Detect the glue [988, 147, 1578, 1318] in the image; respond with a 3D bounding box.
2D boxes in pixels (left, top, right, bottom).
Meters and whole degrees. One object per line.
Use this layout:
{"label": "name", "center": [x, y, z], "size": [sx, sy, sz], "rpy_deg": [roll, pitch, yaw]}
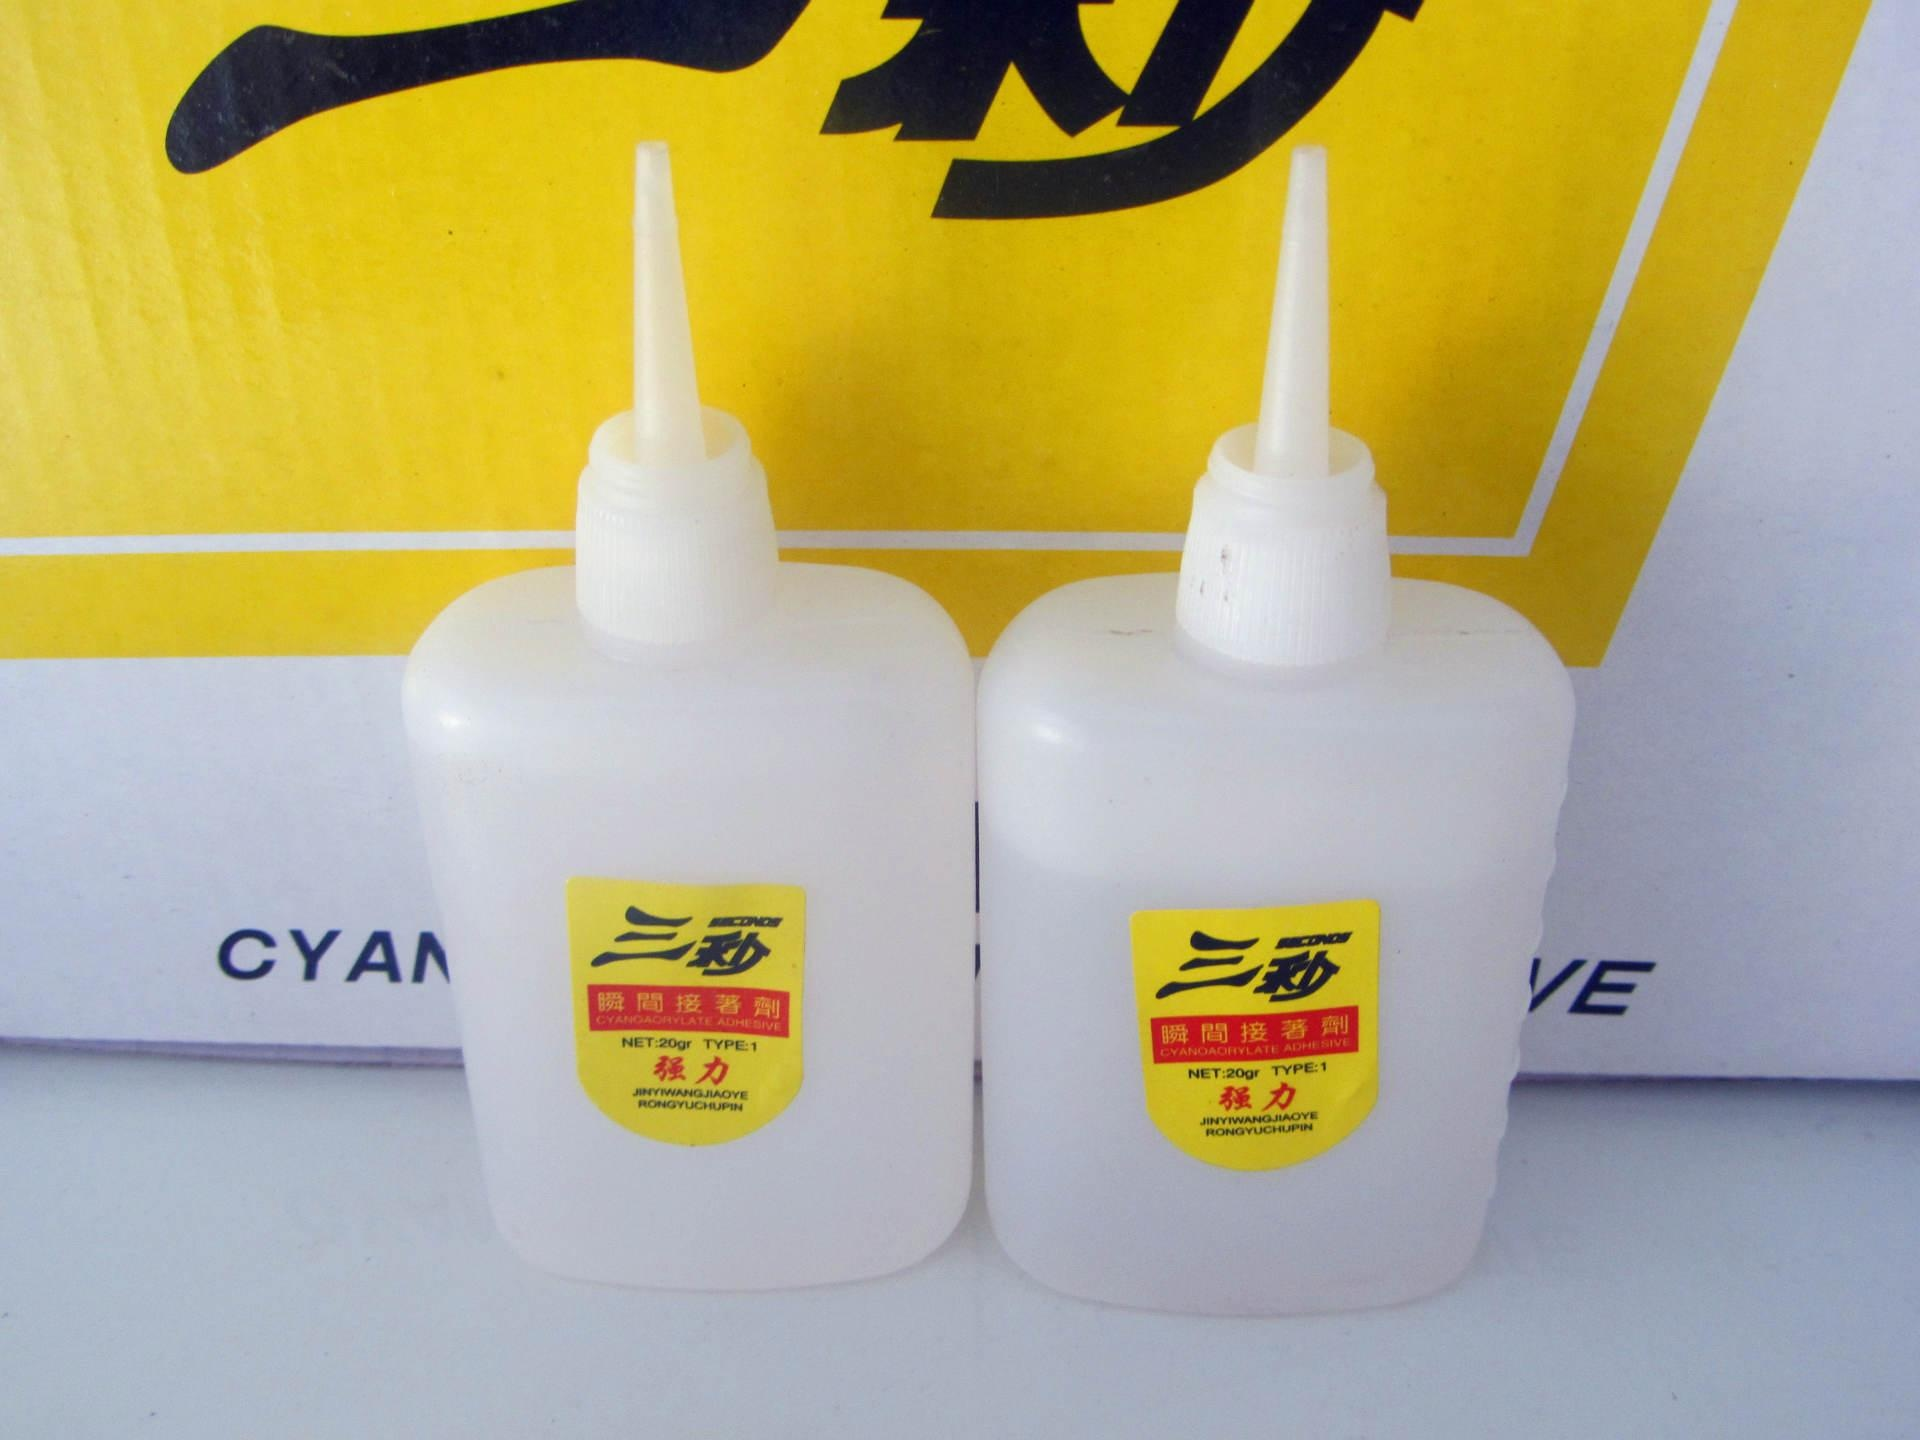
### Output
{"label": "glue", "center": [0.124, 0.014, 0.762], "size": [0.217, 0.458, 0.131], "rpy_deg": [1, 29, 8]}
